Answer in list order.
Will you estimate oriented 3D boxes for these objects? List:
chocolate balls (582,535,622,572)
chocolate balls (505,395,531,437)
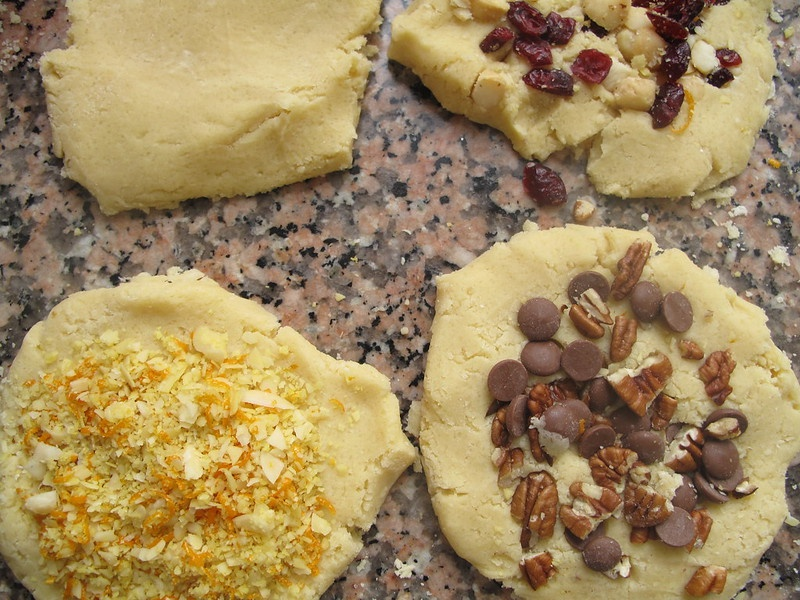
[{"bbox_3d":[0.676,0.847,3.238,0.123,0.073,0.118,4,70,-11],"label":"chocolate balls"},{"bbox_3d":[0.394,0.392,3.269,0.077,0.072,0.128,-1,71,-12],"label":"chocolate balls"}]
